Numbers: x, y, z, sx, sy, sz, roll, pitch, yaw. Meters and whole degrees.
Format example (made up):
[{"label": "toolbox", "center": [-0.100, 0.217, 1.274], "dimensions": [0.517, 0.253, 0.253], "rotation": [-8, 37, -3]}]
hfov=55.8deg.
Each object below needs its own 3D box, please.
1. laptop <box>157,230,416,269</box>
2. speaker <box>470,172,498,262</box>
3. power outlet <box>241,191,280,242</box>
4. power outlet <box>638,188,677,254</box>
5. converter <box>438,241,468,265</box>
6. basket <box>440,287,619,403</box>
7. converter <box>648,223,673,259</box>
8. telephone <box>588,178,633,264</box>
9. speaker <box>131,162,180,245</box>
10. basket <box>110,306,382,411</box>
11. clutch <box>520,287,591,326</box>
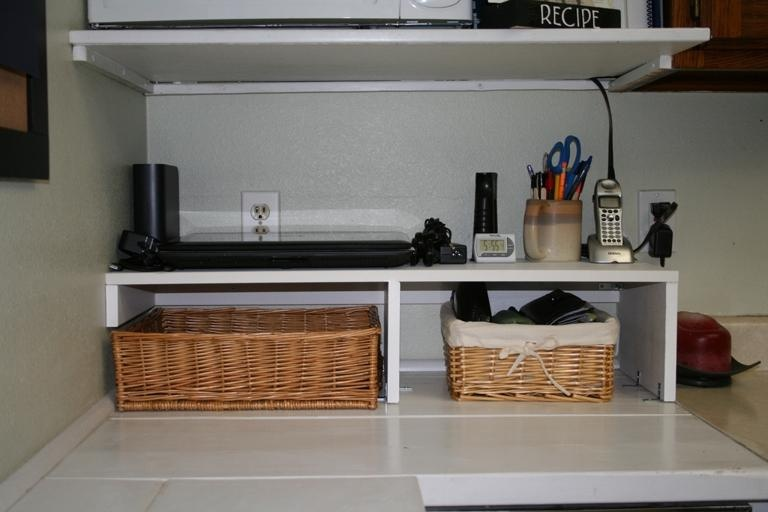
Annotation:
[{"label": "laptop", "center": [-0.234, -0.014, 1.790], "dimensions": [0.599, 0.082, 0.204], "rotation": [-2, 8, -3]}, {"label": "speaker", "center": [0.274, -0.105, 1.960], "dimensions": [0.087, 0.232, 0.090], "rotation": [7, 12, 30]}, {"label": "power outlet", "center": [-0.342, -0.107, 1.998], "dimensions": [0.111, 0.139, 0.040], "rotation": [0, 2, 9]}, {"label": "power outlet", "center": [0.737, -0.103, 2.019], "dimensions": [0.072, 0.187, 0.089], "rotation": [3, 10, -14]}, {"label": "converter", "center": [0.170, -0.005, 1.825], "dimensions": [0.072, 0.048, 0.027], "rotation": [-1, 8, 1]}, {"label": "basket", "center": [0.348, 0.231, 1.856], "dimensions": [0.362, 0.207, 0.370], "rotation": [0, 2, -3]}, {"label": "converter", "center": [0.738, -0.032, 1.936], "dimensions": [0.049, 0.076, 0.050], "rotation": [7, -2, -14]}, {"label": "telephone", "center": [0.572, -0.093, 1.852], "dimensions": [0.107, 0.215, 0.093], "rotation": [0, 8, 7]}, {"label": "speaker", "center": [-0.596, -0.144, 1.891], "dimensions": [0.120, 0.187, 0.103], "rotation": [1, 5, -9]}, {"label": "basket", "center": [-0.329, 0.254, 1.843], "dimensions": [0.619, 0.220, 0.329], "rotation": [-1, 6, -3]}, {"label": "clutch", "center": [0.411, 0.114, 1.827], "dimensions": [0.199, 0.069, 0.202], "rotation": [2, 9, 1]}]
